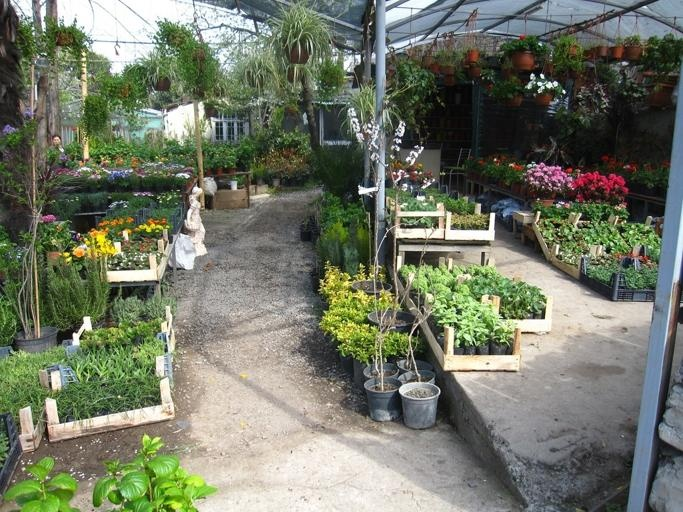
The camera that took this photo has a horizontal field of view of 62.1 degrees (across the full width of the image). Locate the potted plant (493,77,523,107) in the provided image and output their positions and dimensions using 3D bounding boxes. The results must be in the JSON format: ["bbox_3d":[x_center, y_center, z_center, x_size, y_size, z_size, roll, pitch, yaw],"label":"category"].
[{"bbox_3d":[2.981,-2.996,10.272,0.378,0.511,0.625,-9,13,-29],"label":"potted plant"}]

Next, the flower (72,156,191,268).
[{"bbox_3d":[-3.148,-0.736,9.194,1.904,0.745,2.213,-2,18,-7],"label":"flower"}]

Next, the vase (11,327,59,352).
[{"bbox_3d":[-3.330,0.919,6.192,0.413,0.187,0.371,-7,12,-21],"label":"vase"}]

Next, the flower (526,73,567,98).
[{"bbox_3d":[3.405,-2.875,9.584,0.464,0.292,0.484,-4,23,-10],"label":"flower"}]

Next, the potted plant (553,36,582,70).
[{"bbox_3d":[3.836,-3.482,9.663,0.472,0.603,0.785,2,12,22],"label":"potted plant"}]

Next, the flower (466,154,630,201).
[{"bbox_3d":[3.503,-1.259,9.354,1.836,0.456,1.229,16,8,23],"label":"flower"}]

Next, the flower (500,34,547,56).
[{"bbox_3d":[2.924,-3.417,9.227,0.506,0.219,0.527,8,16,34],"label":"flower"}]

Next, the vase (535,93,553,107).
[{"bbox_3d":[3.463,-2.682,9.742,0.269,0.182,0.282,3,5,0],"label":"vase"}]

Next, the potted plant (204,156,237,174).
[{"bbox_3d":[-3.236,-2.364,15.042,0.618,0.323,0.524,-1,3,0],"label":"potted plant"}]

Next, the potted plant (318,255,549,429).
[{"bbox_3d":[0.836,0.739,6.158,1.907,1.149,2.498,-7,12,-21],"label":"potted plant"}]
